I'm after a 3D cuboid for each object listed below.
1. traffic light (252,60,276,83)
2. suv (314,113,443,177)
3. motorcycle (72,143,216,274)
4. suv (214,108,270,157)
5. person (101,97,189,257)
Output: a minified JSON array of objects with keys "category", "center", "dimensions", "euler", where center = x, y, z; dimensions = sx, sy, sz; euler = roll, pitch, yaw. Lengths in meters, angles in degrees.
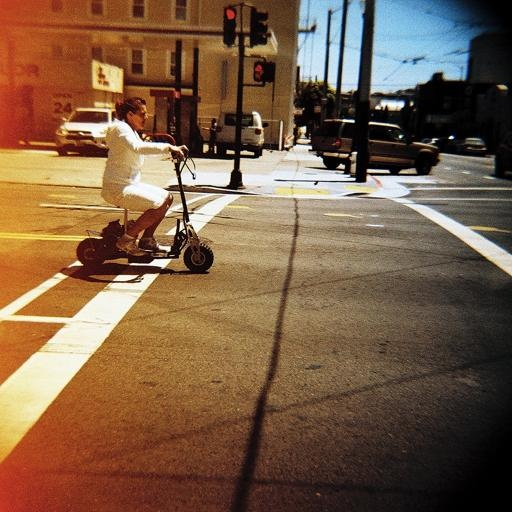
[{"category":"traffic light","center":[0.253,-5.652,14.820],"dimensions":[0.589,0.742,1.144],"euler":[3,13,-3]},{"category":"suv","center":[5.910,-5.267,23.456],"dimensions":[5.479,1.852,2.763],"euler":[-3,16,-11]},{"category":"motorcycle","center":[-1.416,-0.460,6.586],"dimensions":[2.241,1.637,1.099],"euler":[0,13,-7]},{"category":"suv","center":[-0.834,-6.882,27.166],"dimensions":[2.479,1.681,3.775],"euler":[2,21,2]},{"category":"person","center":[-1.347,-0.906,5.683],"dimensions":[0.948,1.835,0.553],"euler":[7,15,9]}]
